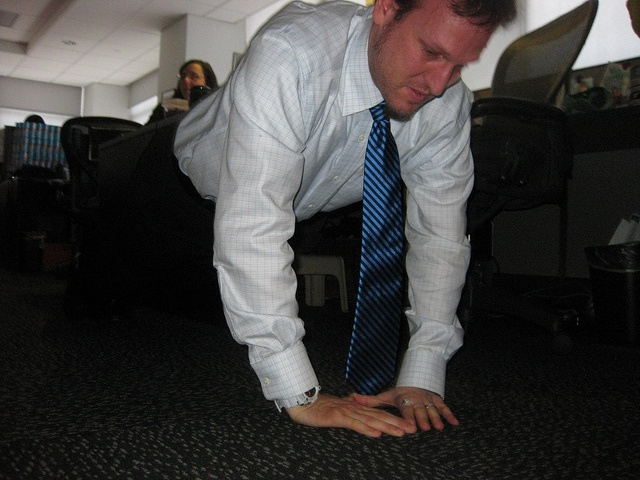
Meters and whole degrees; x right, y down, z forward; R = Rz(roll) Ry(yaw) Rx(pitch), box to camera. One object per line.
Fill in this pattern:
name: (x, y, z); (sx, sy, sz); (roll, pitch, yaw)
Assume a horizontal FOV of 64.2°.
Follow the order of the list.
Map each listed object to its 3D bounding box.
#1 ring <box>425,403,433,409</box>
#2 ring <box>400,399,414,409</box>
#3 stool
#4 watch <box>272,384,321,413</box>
ring: (0.213, 0.328, 0.997); (0.018, 0.004, 0.021); (1, 3, -1)
ring: (0.171, 0.323, 1.000); (0.025, 0.011, 0.021); (2, 3, 14)
stool: (-0.001, 0.138, 1.943); (0.235, 0.235, 0.293); (-2, 3, 2)
watch: (-0.045, 0.303, 0.967); (0.085, 0.048, 0.031); (1, 2, -4)
